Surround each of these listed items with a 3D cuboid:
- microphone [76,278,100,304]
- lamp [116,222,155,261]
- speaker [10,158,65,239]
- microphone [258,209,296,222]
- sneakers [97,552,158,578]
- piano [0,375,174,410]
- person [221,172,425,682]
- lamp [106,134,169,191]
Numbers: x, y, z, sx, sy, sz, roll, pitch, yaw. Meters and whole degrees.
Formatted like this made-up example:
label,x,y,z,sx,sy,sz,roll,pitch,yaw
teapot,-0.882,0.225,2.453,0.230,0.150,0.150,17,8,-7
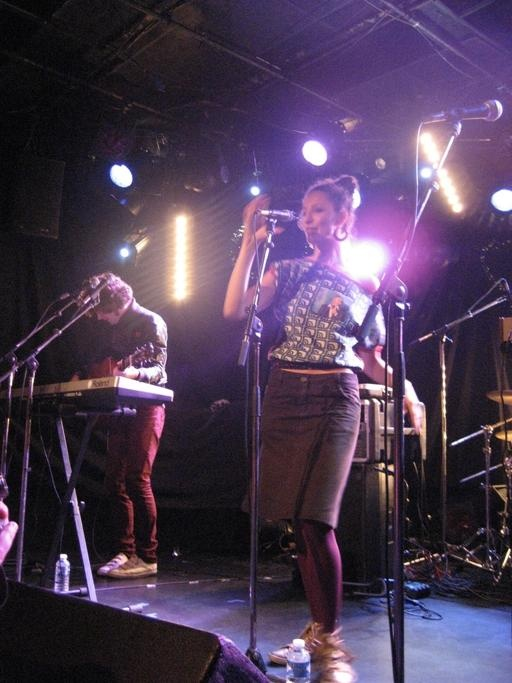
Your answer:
label,x,y,z,sx,sy,sz,roll,pitch,yaw
microphone,-0.981,-0.290,3.719,0.128,0.154,0.036,14,-29,26
lamp,-1.096,-0.862,5.752,0.210,0.353,0.449,1,-10,8
speaker,-1.641,-1.100,4.733,0.339,0.580,0.183,6,-10,-24
microphone,0.078,-0.473,2.428,0.147,0.055,0.053,7,8,-16
sneakers,-0.817,1.428,3.991,0.333,0.136,0.153,21,-33,-35
piano,-0.781,0.280,3.067,0.598,0.150,0.476,-3,-11,24
person,0.171,0.239,2.385,0.640,1.909,0.511,0,-9,14
lamp,-0.969,-1.452,5.097,0.257,0.590,0.240,33,16,-24
